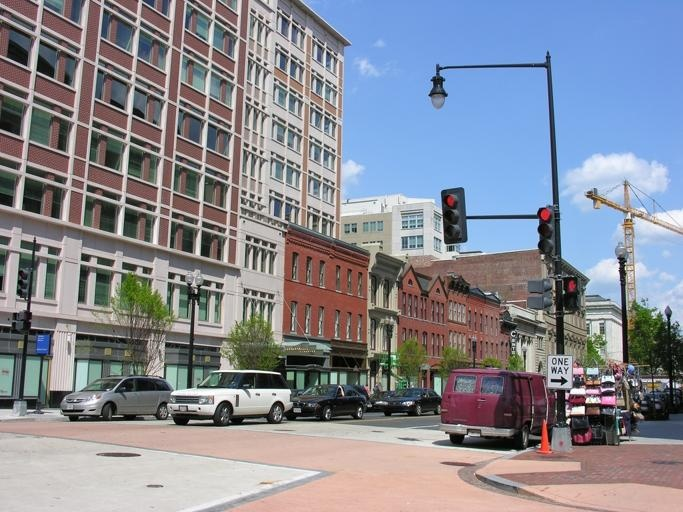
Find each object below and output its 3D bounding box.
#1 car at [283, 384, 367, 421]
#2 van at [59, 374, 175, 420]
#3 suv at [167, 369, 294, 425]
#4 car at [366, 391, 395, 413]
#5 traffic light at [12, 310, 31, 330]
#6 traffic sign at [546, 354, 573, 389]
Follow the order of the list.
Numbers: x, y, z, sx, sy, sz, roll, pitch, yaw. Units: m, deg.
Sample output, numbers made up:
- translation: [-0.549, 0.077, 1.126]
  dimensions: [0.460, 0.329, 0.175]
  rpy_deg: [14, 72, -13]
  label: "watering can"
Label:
- translation: [-0.568, 7.146, 35.663]
  dimensions: [1.580, 1.208, 3.762]
  rpy_deg: [-7, -18, 26]
  label: "car"
- translation: [-9.404, 6.050, 31.170]
  dimensions: [1.252, 1.906, 4.418]
  rpy_deg: [-11, -17, 36]
  label: "van"
- translation: [-4.398, 5.874, 30.143]
  dimensions: [1.516, 2.299, 5.006]
  rpy_deg: [-13, -19, 41]
  label: "suv"
- translation: [2.526, 9.132, 45.658]
  dimensions: [1.283, 1.023, 2.183]
  rpy_deg: [-10, -17, 40]
  label: "car"
- translation: [-14.517, 2.986, 33.188]
  dimensions: [1.010, 0.955, 0.705]
  rpy_deg: [-1, -13, 0]
  label: "traffic light"
- translation: [6.658, 3.549, 22.291]
  dimensions: [0.929, 1.410, 0.095]
  rpy_deg: [-3, -9, 25]
  label: "traffic sign"
